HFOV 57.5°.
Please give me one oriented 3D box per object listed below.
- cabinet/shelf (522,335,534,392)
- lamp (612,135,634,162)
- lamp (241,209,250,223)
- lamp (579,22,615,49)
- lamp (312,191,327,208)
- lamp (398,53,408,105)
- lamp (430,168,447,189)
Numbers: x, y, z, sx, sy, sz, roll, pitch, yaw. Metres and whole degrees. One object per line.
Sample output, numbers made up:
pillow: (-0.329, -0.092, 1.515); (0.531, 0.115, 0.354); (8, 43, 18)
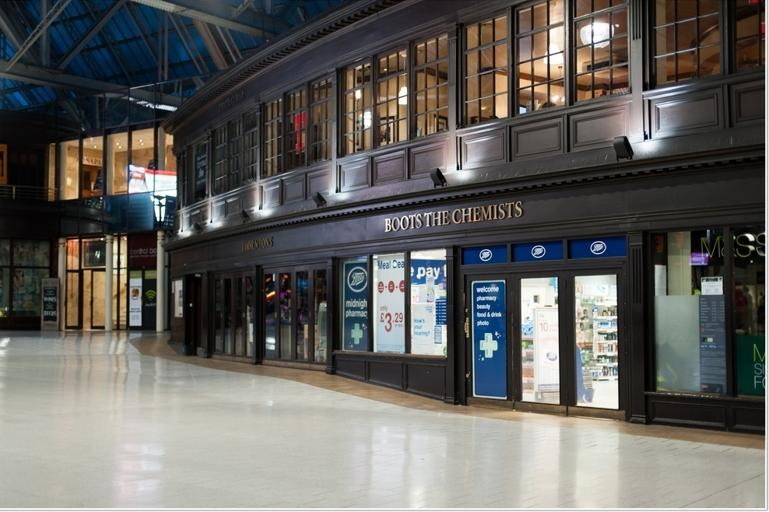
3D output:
cabinet/shelf: (2.843, 2.170, 13.927); (0.294, 1.404, 0.078); (1, 20, 13)
lamp: (4.385, -1.993, 12.827); (0.345, 0.428, 0.320); (-1, -6, 20)
lamp: (-4.132, -1.220, 20.884); (0.193, 0.432, 0.542); (6, -7, -38)
lamp: (4.108, -4.305, 13.526); (0.469, 0.337, 0.524); (9, -16, -34)
lamp: (-1.644, -1.489, 17.974); (0.266, 0.417, 0.386); (6, -7, -39)
lamp: (0.437, -4.180, 16.351); (0.140, 1.280, 0.368); (5, -7, -33)
lamp: (1.186, -1.701, 15.201); (0.360, 0.465, 0.330); (1, -6, 5)
